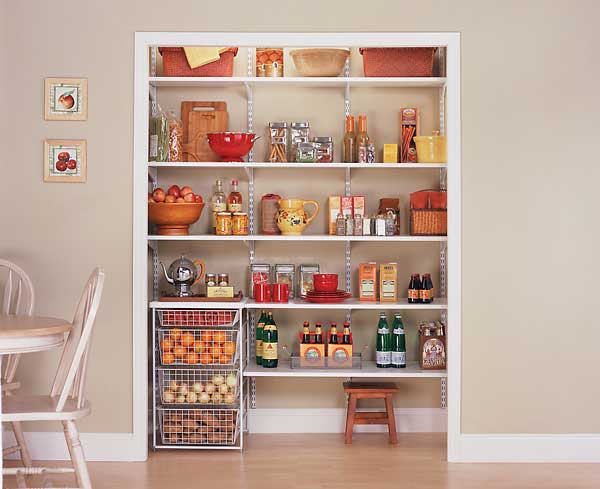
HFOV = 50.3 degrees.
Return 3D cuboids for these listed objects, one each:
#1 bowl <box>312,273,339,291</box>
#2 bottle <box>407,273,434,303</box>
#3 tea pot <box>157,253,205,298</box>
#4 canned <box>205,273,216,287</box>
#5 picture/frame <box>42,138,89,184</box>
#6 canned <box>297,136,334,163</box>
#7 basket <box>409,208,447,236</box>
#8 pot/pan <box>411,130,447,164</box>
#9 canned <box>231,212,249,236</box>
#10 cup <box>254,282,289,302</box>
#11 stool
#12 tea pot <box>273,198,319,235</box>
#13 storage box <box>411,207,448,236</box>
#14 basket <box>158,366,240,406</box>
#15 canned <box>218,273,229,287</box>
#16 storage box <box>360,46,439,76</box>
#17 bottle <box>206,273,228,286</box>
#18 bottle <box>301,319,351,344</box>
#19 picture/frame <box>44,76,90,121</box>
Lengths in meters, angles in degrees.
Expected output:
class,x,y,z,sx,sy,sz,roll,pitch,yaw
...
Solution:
class,x,y,z,sx,sy,sz,roll,pitch,yaw
bowl,0.165,0.234,3.936,0.121,0.079,0.112,-1,-2,0
bottle,0.734,0.273,3.889,0.135,0.186,0.178,0,-3,6
tea pot,-0.728,0.192,3.972,0.359,0.318,0.219,0,-4,-15
canned,-0.553,0.224,4.009,0.068,0.076,0.068,0,-3,-3
picture/frame,-1.343,-0.492,3.646,0.248,0.244,0.021,1,1,-4
canned,0.097,-0.573,3.932,0.271,0.192,0.147,0,1,-8
basket,0.780,-0.132,3.841,0.255,0.180,0.141,0,-1,3
pot/pan,0.798,-0.591,3.874,0.175,0.124,0.171,0,-2,-3
canned,-0.368,-0.126,3.916,0.103,0.139,0.130,0,-3,-7
cup,-0.181,0.298,3.934,0.185,0.094,0.107,1,1,7
stool,0.434,1.043,3.943,0.343,0.329,0.342,0,-5,1
tea pot,-0.040,-0.174,4.030,0.293,0.213,0.182,-1,2,-7
storage box,0.783,-0.136,3.903,0.168,0.126,0.165,0,-2,2
basket,-0.610,0.848,3.795,0.367,0.156,0.234,0,-5,-1
canned,-0.477,0.224,3.997,0.069,0.074,0.069,0,2,19
storage box,0.597,-1.121,3.901,0.307,0.099,0.207,-1,4,-2
bottle,-0.524,0.219,4.021,0.126,0.089,0.070,0,-1,-1
bottle,0.172,0.608,4.013,0.283,0.270,0.142,0,-4,-1
picture/frame,-1.338,-0.843,3.635,0.253,0.250,0.018,1,1,-4
